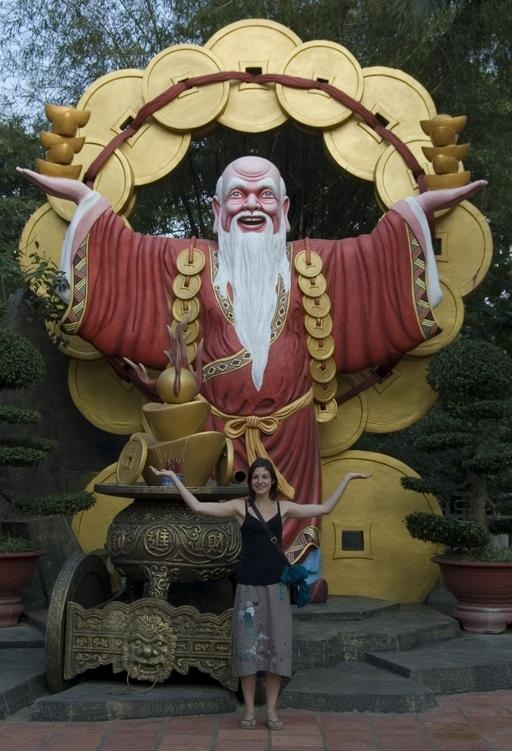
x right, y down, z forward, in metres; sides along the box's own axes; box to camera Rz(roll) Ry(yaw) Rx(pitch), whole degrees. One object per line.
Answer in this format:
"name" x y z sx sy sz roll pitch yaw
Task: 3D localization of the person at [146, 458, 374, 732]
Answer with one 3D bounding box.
"person" -0.021 1.159 4.180 1.500 1.438 0.366 2 -20 -4
